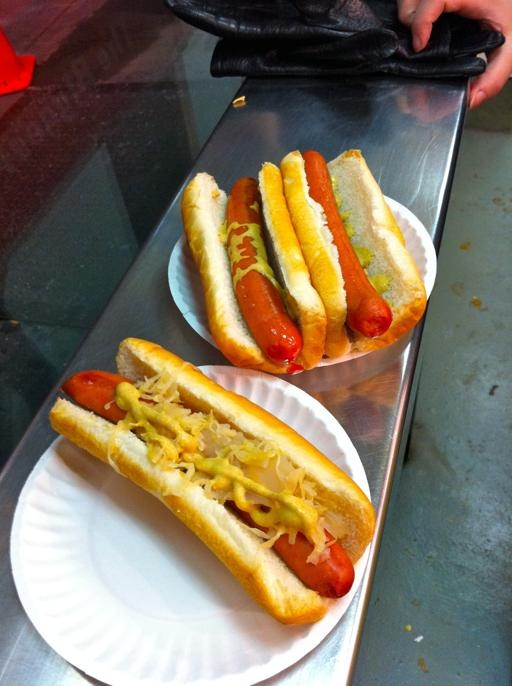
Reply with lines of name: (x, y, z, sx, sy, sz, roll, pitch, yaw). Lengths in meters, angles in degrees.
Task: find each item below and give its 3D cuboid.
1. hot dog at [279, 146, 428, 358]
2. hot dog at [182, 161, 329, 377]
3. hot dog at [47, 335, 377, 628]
hot dog: (0.240, -0.219, 1.575, 0.307, 0.180, 0.558, -13, 64, -5)
hot dog: (0.003, -0.194, 1.503, 0.305, 0.179, 0.614, -16, 55, 4)
hot dog: (-0.125, 0.272, 1.227, 0.670, 0.218, 0.320, 32, 53, 21)
